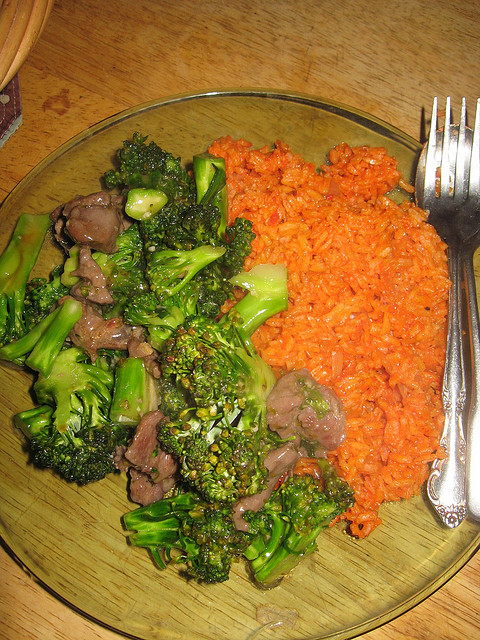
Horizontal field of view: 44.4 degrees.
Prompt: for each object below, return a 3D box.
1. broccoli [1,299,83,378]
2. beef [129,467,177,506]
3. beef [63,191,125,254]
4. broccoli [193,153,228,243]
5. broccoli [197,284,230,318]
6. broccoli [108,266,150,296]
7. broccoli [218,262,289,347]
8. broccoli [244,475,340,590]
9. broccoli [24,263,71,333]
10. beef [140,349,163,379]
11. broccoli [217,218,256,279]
[{"bbox_3d":[-0.791,0.055,2.524,0.321,0.316,0.321,-5,112,-8],"label":"broccoli"},{"bbox_3d":[-0.367,0.685,2.447,0.187,0.056,0.175,-29,99,3],"label":"beef"},{"bbox_3d":[-0.607,-0.384,2.403,0.255,0.257,0.223,-1,59,-8],"label":"beef"},{"bbox_3d":[-0.137,-0.517,2.535,0.153,0.111,0.375,3,102,18],"label":"broccoli"},{"bbox_3d":[-0.099,-0.079,2.361,0.139,0.039,0.121,-16,104,-19],"label":"broccoli"},{"bbox_3d":[-0.463,-0.166,2.463,0.169,0.058,0.110,23,81,-19],"label":"broccoli"},{"bbox_3d":[0.088,-0.063,2.517,0.364,0.103,0.311,11,85,-1],"label":"broccoli"},{"bbox_3d":[0.181,0.801,2.407,0.370,0.263,0.443,36,103,-10],"label":"broccoli"},{"bbox_3d":[-0.845,-0.103,2.558,0.181,0.266,0.251,-7,111,-15],"label":"broccoli"},{"bbox_3d":[-0.348,0.177,2.386,0.125,0.039,0.108,6,91,24],"label":"beef"},{"bbox_3d":[-0.014,-0.302,2.459,0.120,0.190,0.200,14,58,1],"label":"broccoli"}]
